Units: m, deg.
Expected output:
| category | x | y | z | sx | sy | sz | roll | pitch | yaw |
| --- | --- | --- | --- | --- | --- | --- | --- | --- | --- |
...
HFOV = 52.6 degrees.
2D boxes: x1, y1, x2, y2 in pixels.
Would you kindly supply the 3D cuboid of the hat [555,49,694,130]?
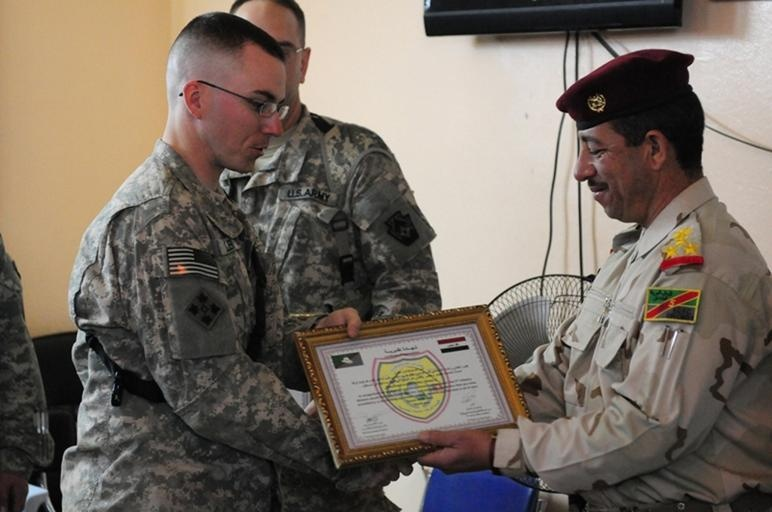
| category | x | y | z | sx | sy | sz | roll | pitch | yaw |
| --- | --- | --- | --- | --- | --- | --- | --- | --- | --- |
| hat | 0.816 | -0.560 | 2.637 | 0.313 | 0.128 | 0.289 | -21 | 5 | 16 |
